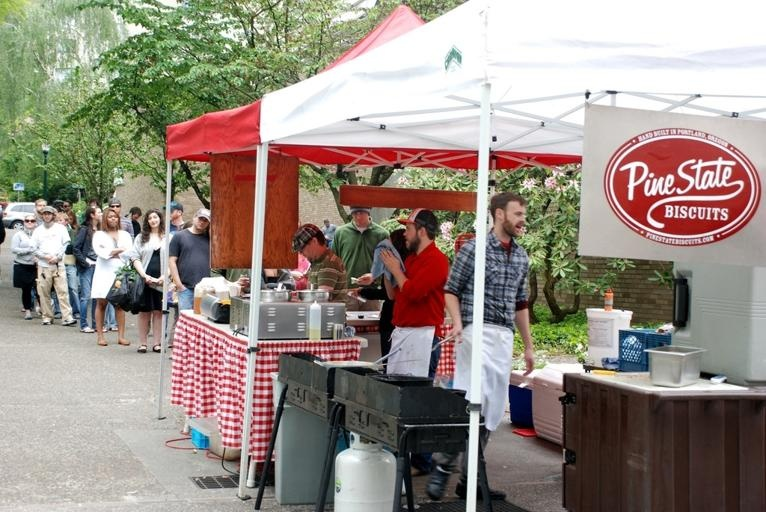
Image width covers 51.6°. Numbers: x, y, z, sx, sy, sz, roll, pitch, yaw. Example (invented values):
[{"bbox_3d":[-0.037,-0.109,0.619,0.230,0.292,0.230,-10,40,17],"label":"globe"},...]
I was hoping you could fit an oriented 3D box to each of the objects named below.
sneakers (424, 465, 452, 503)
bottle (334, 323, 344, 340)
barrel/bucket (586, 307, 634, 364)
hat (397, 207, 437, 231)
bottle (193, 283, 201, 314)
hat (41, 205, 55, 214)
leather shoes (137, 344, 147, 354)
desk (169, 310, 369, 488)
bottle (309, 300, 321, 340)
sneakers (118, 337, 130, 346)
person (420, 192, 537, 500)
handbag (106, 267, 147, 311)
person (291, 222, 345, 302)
[{"bbox_3d":[0.476,1.977,6.888,0.173,0.138,0.387,-1,8,3],"label":"sneakers"},{"bbox_3d":[-0.403,0.686,7.169,0.092,0.133,0.075,2,6,-1],"label":"bottle"},{"bbox_3d":[2.468,0.896,8.756,0.459,0.604,0.455,2,6,0],"label":"barrel/bucket"},{"bbox_3d":[0.327,-0.345,7.252,0.312,0.165,0.205,3,-4,4],"label":"hat"},{"bbox_3d":[-1.984,0.486,8.526,0.084,0.271,0.434,0,6,-16],"label":"bottle"},{"bbox_3d":[-6.307,-0.870,14.967,0.243,0.113,0.328,-1,-4,-5],"label":"hat"},{"bbox_3d":[-3.815,1.475,12.534,0.130,0.086,0.326,0,-4,-15],"label":"leather shoes"},{"bbox_3d":[-1.207,1.146,7.527,1.293,0.951,1.980,6,-1,-20],"label":"desk"},{"bbox_3d":[-0.602,0.588,7.109,0.128,0.324,0.108,0,6,-18],"label":"bottle"},{"bbox_3d":[-4.333,1.442,13.299,0.098,0.165,0.246,0,-12,-41],"label":"sneakers"},{"bbox_3d":[0.828,0.806,6.840,0.714,2.713,1.084,4,6,21],"label":"person"},{"bbox_3d":[-3.975,0.527,12.296,0.701,0.677,0.313,7,8,41],"label":"handbag"},{"bbox_3d":[-0.617,0.061,7.892,0.436,0.722,0.746,-2,7,-29],"label":"person"}]
